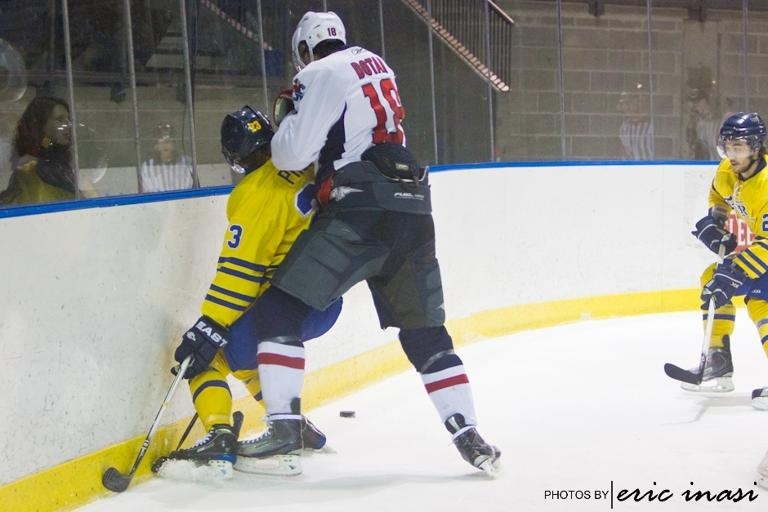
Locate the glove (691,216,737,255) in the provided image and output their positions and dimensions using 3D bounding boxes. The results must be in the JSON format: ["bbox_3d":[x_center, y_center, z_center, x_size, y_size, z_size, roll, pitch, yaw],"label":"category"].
[{"bbox_3d":[2.291,-0.147,6.156,0.301,0.243,0.129,45,18,21],"label":"glove"}]

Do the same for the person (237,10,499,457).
[{"bbox_3d":[-0.091,-0.121,4.769,1.301,2.428,0.914,2,-13,-16],"label":"person"}]

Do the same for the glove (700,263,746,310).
[{"bbox_3d":[2.106,0.183,5.535,0.212,0.263,0.113,47,18,9],"label":"glove"}]

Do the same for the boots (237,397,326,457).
[{"bbox_3d":[-0.463,0.912,4.662,0.567,0.375,0.188,1,1,-3],"label":"boots"}]

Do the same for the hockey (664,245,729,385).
[{"bbox_3d":[2.053,0.460,5.880,0.254,0.082,0.921,8,49,20],"label":"hockey"}]

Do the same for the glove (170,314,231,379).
[{"bbox_3d":[-0.912,0.459,4.536,0.195,0.336,0.106,40,8,11],"label":"glove"}]

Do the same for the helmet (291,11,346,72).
[{"bbox_3d":[-0.359,-1.185,4.770,0.303,0.312,0.249,-12,3,41],"label":"helmet"}]

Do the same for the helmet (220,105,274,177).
[{"bbox_3d":[-0.770,-0.637,4.797,0.330,0.329,0.269,-5,14,24],"label":"helmet"}]

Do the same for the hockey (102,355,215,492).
[{"bbox_3d":[-1.214,0.843,4.529,0.466,0.657,0.219,-4,12,-20],"label":"hockey"}]

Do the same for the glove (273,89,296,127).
[{"bbox_3d":[-0.530,-0.793,4.663,0.063,0.127,0.178,19,4,25],"label":"glove"}]
